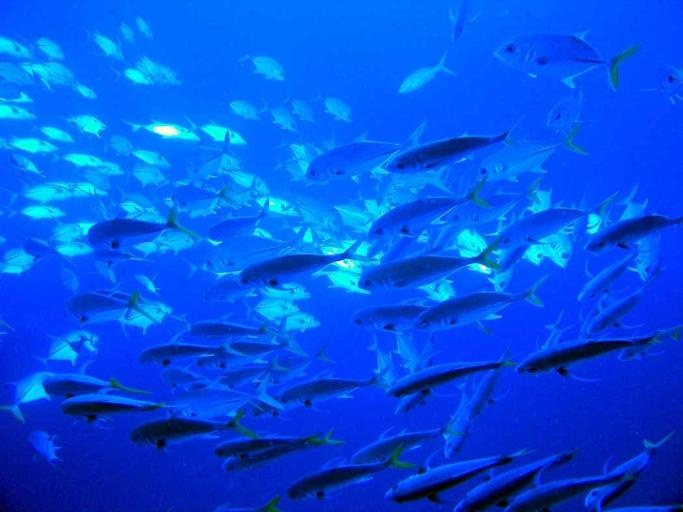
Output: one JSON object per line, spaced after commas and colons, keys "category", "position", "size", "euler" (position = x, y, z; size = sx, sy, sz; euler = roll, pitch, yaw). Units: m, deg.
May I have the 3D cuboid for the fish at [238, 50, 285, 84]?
{"category": "fish", "position": [-1.248, -3.077, 12.035], "size": [0.825, 0.183, 0.346], "euler": [26, -23, -1]}
